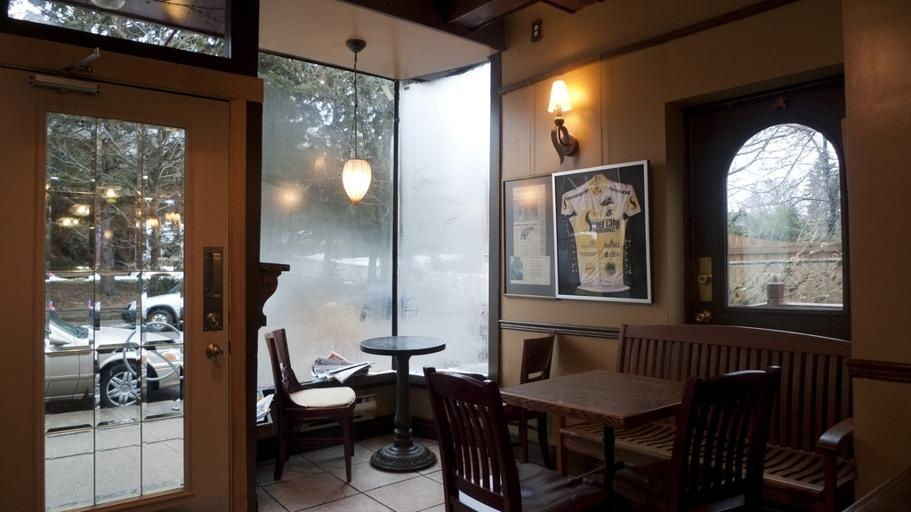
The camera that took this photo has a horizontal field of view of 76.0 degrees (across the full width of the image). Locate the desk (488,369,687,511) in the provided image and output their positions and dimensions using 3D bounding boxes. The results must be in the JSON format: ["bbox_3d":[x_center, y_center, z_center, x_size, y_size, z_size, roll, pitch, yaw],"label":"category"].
[{"bbox_3d":[1.082,1.047,4.326,1.054,0.924,1.059,8,13,42],"label":"desk"}]

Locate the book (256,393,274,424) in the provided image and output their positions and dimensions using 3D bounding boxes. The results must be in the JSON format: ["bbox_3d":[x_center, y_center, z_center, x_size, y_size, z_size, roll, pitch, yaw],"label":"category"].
[{"bbox_3d":[-1.712,1.364,5.212,0.110,0.119,0.576,-3,2,-16],"label":"book"}]

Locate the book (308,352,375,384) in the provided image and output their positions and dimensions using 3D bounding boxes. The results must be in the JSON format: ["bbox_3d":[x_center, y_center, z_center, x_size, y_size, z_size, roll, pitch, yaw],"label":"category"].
[{"bbox_3d":[-1.231,1.176,6.128,0.430,0.119,0.425,-7,13,-44],"label":"book"}]

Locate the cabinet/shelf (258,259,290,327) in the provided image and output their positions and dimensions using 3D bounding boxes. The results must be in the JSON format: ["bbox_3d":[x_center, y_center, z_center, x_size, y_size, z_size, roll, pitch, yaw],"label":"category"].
[{"bbox_3d":[-1.640,0.346,5.237,0.259,0.538,0.833,-3,1,-17],"label":"cabinet/shelf"}]

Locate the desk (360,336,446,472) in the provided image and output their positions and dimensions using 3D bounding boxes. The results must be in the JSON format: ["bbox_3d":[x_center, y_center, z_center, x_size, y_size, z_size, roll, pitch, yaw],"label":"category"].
[{"bbox_3d":[-0.521,1.470,5.909,0.991,1.142,0.920,3,-6,-28],"label":"desk"}]

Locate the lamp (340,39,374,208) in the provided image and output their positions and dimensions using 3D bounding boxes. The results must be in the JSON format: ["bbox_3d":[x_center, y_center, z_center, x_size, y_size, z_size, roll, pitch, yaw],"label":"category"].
[{"bbox_3d":[-1.055,-1.356,6.111,0.321,1.469,0.716,-3,1,-7],"label":"lamp"}]

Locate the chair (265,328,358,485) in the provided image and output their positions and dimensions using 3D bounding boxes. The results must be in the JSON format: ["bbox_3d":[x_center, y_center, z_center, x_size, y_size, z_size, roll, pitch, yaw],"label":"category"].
[{"bbox_3d":[-1.371,1.413,5.723,0.911,1.216,0.786,-1,0,5],"label":"chair"}]

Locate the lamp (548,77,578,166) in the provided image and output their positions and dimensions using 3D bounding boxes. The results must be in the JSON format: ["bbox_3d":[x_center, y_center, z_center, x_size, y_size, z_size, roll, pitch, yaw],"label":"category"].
[{"bbox_3d":[0.997,-1.288,5.578,0.306,0.562,0.264,-2,1,30],"label":"lamp"}]
